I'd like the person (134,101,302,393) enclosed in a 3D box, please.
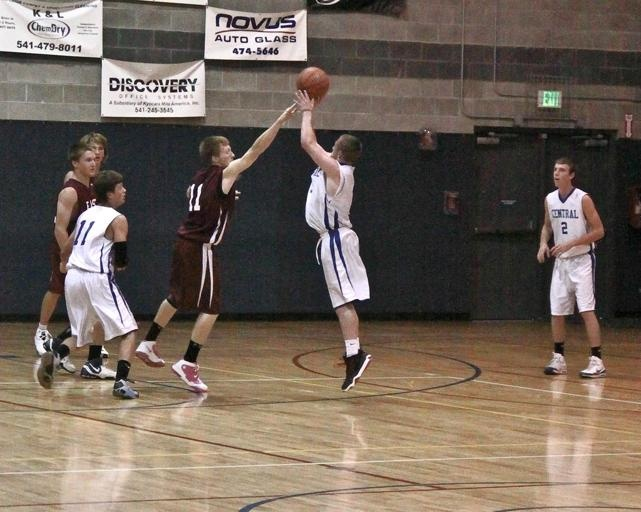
[{"bbox_3d":[-0.853,-0.006,6.288,1.049,2.058,0.740,1,3,-4],"label":"person"}]

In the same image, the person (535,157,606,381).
[{"bbox_3d":[2.281,0.076,7.596,0.609,1.950,0.738,2,3,15],"label":"person"}]

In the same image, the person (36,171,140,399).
[{"bbox_3d":[-1.545,0.194,6.021,0.602,1.618,0.257,3,3,27],"label":"person"}]

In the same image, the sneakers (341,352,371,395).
[{"bbox_3d":[0.263,0.847,6.212,0.191,0.320,0.198,2,3,2],"label":"sneakers"}]

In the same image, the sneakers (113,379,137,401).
[{"bbox_3d":[-1.345,0.954,6.003,0.244,0.171,0.096,3,-2,-7],"label":"sneakers"}]

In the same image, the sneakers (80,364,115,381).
[{"bbox_3d":[-1.795,0.939,6.764,0.324,0.138,0.112,5,-2,-11],"label":"sneakers"}]

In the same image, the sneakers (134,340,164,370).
[{"bbox_3d":[-1.295,0.753,6.381,0.109,0.153,0.327,-10,-33,31],"label":"sneakers"}]

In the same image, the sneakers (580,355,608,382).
[{"bbox_3d":[2.384,0.981,7.415,0.345,0.223,0.121,1,-4,-19],"label":"sneakers"}]

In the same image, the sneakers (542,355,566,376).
[{"bbox_3d":[2.086,0.979,7.565,0.111,0.160,0.291,-7,-10,36],"label":"sneakers"}]

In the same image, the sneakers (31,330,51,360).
[{"bbox_3d":[-2.532,0.810,7.616,0.165,0.209,0.485,4,-13,-26],"label":"sneakers"}]

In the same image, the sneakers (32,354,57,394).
[{"bbox_3d":[-2.054,0.889,6.273,0.132,0.268,0.129,8,14,6],"label":"sneakers"}]
